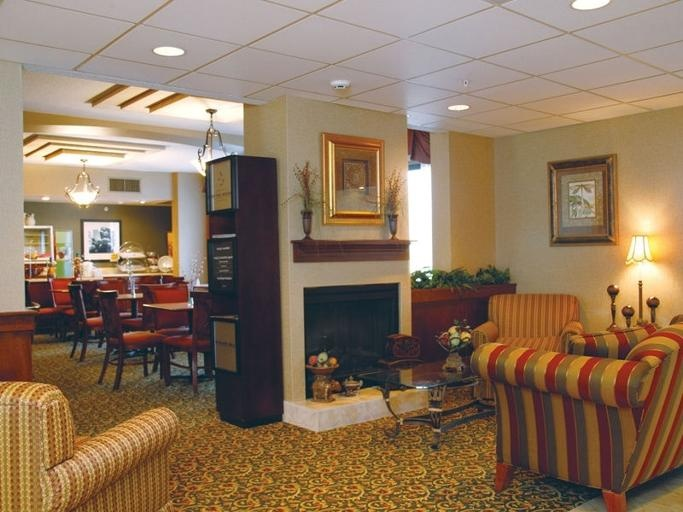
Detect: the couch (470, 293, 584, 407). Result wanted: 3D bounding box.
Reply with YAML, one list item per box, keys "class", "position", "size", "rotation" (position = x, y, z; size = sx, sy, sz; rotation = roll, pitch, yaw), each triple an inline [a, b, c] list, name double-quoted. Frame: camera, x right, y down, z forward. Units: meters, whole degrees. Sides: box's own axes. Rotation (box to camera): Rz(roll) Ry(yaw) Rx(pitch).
- class: "couch"
  position: [2.262, 1.085, 6.360]
  size: [1.249, 1.172, 1.031]
  rotation: [-4, 1, 40]

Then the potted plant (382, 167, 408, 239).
- class: "potted plant"
  position: [0.638, -0.621, 6.354]
  size: [0.202, 0.829, 0.357]
  rotation: [1, 5, 19]

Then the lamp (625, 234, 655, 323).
- class: "lamp"
  position: [3.626, 0.250, 6.501]
  size: [0.300, 1.039, 0.323]
  rotation: [2, 5, 35]

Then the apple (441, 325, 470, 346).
- class: "apple"
  position: [1.120, 0.799, 5.370]
  size: [0.204, 0.124, 0.262]
  rotation: [0, -5, -35]

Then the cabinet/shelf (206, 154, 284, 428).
- class: "cabinet/shelf"
  position: [-1.031, 0.399, 5.770]
  size: [0.697, 2.794, 0.698]
  rotation: [-2, 2, -33]

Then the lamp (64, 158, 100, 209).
- class: "lamp"
  position: [-5.444, -1.509, 11.236]
  size: [0.758, 1.059, 0.770]
  rotation: [-4, -2, 17]

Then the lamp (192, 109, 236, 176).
- class: "lamp"
  position: [-2.148, -1.869, 8.866]
  size: [0.655, 1.106, 0.595]
  rotation: [9, 16, 39]

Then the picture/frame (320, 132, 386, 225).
- class: "picture/frame"
  position: [0.097, -0.872, 5.989]
  size: [1.117, 1.286, 0.103]
  rotation: [-1, 1, -36]

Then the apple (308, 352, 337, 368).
- class: "apple"
  position: [-0.196, 1.091, 5.563]
  size: [0.300, 0.146, 0.181]
  rotation: [-1, 4, -6]

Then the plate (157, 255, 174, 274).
- class: "plate"
  position: [-3.685, 0.197, 11.166]
  size: [0.406, 0.400, 0.183]
  rotation: [-11, 1, -43]

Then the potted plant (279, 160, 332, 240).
- class: "potted plant"
  position: [-0.401, -0.596, 5.663]
  size: [0.467, 0.827, 0.255]
  rotation: [-2, 5, -12]
